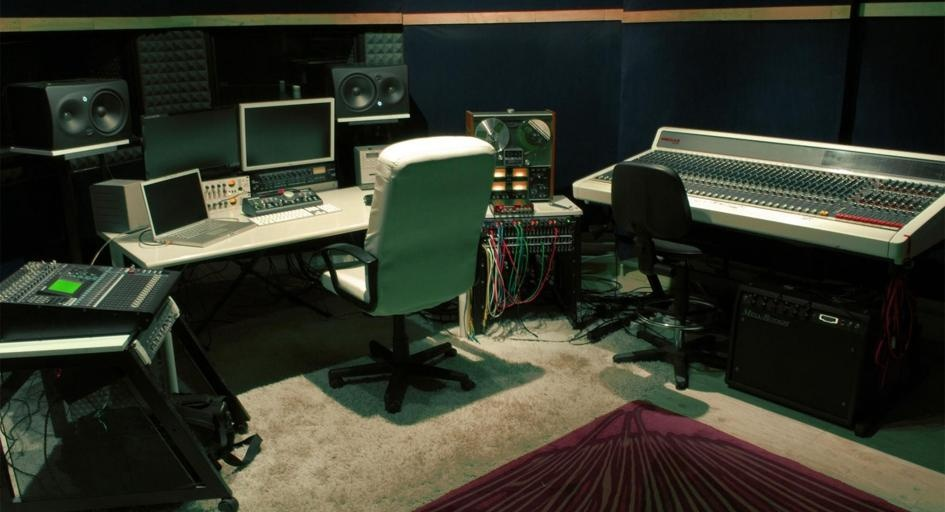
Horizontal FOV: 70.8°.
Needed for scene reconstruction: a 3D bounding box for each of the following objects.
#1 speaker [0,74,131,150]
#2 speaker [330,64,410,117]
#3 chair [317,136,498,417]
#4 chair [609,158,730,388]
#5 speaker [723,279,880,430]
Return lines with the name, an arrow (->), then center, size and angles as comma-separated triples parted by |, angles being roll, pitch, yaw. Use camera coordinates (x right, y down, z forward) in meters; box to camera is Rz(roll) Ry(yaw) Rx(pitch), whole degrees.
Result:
speaker -> -2.938, -1.024, 4.882 | 0.581, 0.551, 0.887 | 12, 19, 31
speaker -> -0.916, -1.396, 5.578 | 0.699, 0.409, 0.375 | -15, 25, -36
chair -> -0.411, 0.129, 4.658 | 1.264, 1.881, 0.612 | -9, 28, -12
chair -> 1.522, 0.040, 5.129 | 1.011, 1.568, 1.164 | 7, 28, 19
speaker -> 2.246, 0.744, 4.939 | 0.958, 0.601, 0.853 | 18, 67, 1
